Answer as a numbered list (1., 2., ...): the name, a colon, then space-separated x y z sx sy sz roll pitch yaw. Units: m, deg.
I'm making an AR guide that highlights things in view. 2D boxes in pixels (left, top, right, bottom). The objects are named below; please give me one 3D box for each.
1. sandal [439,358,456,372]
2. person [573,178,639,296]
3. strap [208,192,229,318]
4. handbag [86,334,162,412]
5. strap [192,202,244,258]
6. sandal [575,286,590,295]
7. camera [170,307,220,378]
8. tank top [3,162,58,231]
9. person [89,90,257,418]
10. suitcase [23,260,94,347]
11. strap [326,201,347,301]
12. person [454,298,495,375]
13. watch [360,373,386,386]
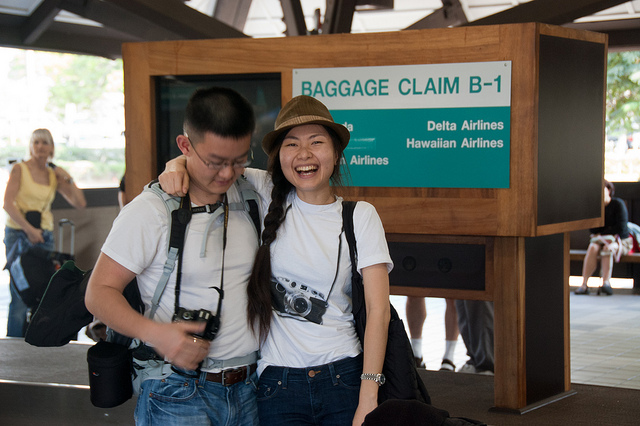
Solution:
1. sandal: 1.326 1.578 5.716 0.137 0.091 0.263 4 6 40
2. person: 4.635 0.420 8.862 0.967 1.817 0.462 1 4 15
3. strap: -0.538 0.247 2.971 0.069 0.571 0.164 2 5 24
4. handbag: -1.095 0.881 3.138 0.504 0.465 0.299 3 2 5
5. strap: -0.544 0.089 2.891 0.280 0.266 0.086 -8 0 -20
6. sandal: 4.250 1.260 8.871 0.262 0.115 0.117 -1 5 -20
7. camera: -0.674 0.709 2.990 0.288 0.357 0.142 13 -3 -4
8. tank top: -3.404 -0.194 6.564 0.450 0.812 0.288 -2 5 -25
9. person: -0.733 0.218 2.891 0.839 1.753 0.426 -2 5 -30
10. suitcase: -1.459 0.523 3.067 0.349 0.407 0.166 -1 4 -13
11. strap: 0.097 0.211 3.011 0.057 0.526 0.174 2 5 27
12. person: 1.561 1.258 5.602 0.407 0.766 0.339 2 5 22
13. watch: 0.286 0.873 2.894 0.103 0.061 0.098 -2 -19 12
